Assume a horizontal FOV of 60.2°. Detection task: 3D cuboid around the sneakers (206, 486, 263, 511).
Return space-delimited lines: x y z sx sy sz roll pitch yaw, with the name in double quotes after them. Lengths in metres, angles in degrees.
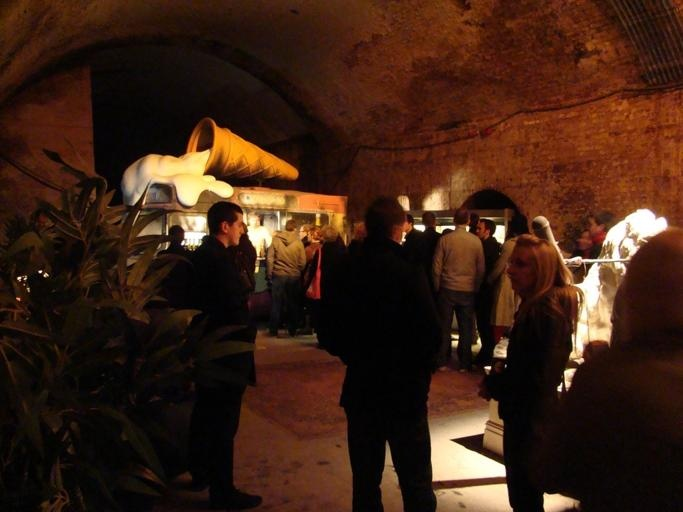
-0.638 1.464 3.558 0.314 0.128 0.103 1 4 -9 "sneakers"
